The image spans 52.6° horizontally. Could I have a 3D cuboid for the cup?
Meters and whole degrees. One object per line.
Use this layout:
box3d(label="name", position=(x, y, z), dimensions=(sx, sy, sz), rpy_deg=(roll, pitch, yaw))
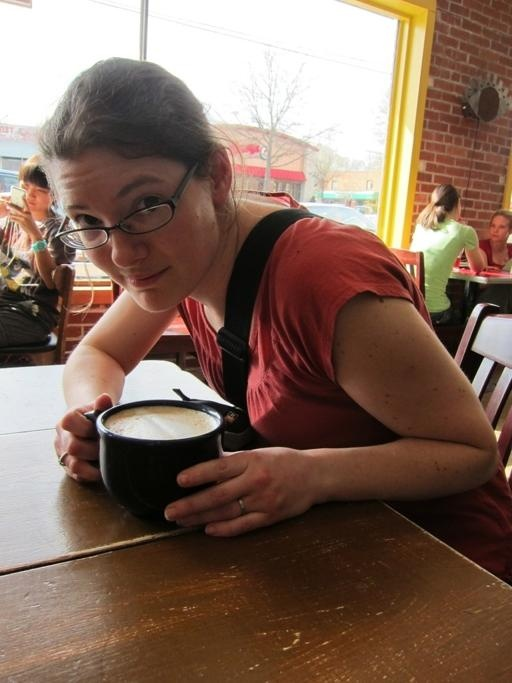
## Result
box3d(label="cup", position=(-0.103, 0.102, 0.539), dimensions=(0.138, 0.084, 0.115), rpy_deg=(11, 13, 42))

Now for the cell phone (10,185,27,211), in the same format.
box3d(label="cell phone", position=(-1.275, -0.766, 2.768), dimensions=(0.081, 0.113, 0.055), rpy_deg=(0, 9, -17))

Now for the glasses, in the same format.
box3d(label="glasses", position=(-0.156, -0.155, 0.693), dimensions=(0.150, 0.043, 0.146), rpy_deg=(-1, 43, 42))
